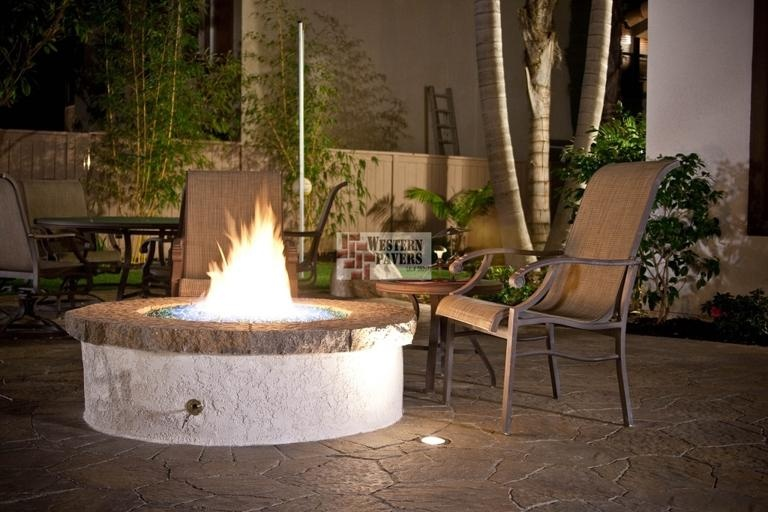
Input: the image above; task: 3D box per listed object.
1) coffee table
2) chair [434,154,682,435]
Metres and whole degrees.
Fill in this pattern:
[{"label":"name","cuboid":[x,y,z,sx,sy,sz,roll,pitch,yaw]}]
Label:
[{"label":"coffee table","cuboid":[0.413,0.536,4.191,0.857,0.626,0.830,14,12,1]},{"label":"chair","cuboid":[1.070,0.183,3.680,1.273,1.525,1.027,-5,9,-34]}]
